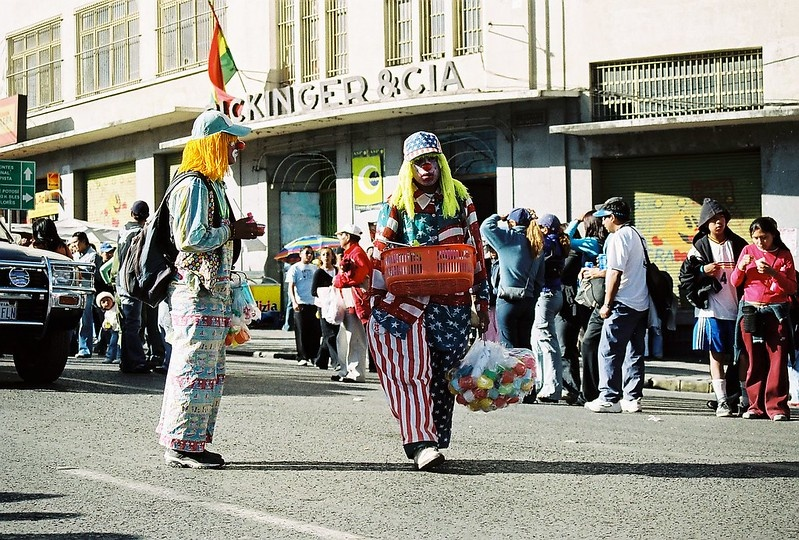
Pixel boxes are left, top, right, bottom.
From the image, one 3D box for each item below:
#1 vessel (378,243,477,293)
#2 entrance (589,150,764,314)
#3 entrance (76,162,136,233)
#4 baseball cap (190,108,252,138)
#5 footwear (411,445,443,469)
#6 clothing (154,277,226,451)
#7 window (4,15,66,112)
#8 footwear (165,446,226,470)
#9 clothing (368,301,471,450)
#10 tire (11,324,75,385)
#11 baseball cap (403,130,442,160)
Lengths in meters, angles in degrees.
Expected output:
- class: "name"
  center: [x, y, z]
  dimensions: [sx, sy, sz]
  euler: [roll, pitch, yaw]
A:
- class: "vessel"
  center: [0.318, -0.007, 11.890]
  dimensions: [0.680, 0.245, 0.529]
  euler: [-3, -38, 0]
- class: "entrance"
  center: [4.661, -0.670, 19.133]
  dimensions: [3.334, 2.873, 0.340]
  euler: [0, 1, 30]
- class: "entrance"
  center: [-8.312, -2.109, 33.308]
  dimensions: [0.250, 1.909, 2.569]
  euler: [-1, 1, -45]
- class: "baseball cap"
  center: [-1.889, -1.574, 12.200]
  dimensions: [0.504, 0.224, 0.325]
  euler: [-3, 16, -16]
- class: "footwear"
  center: [0.283, 1.905, 11.868]
  dimensions: [0.148, 0.157, 0.336]
  euler: [-7, -15, -33]
- class: "clothing"
  center: [-2.116, 0.987, 11.992]
  dimensions: [0.720, 1.739, 0.281]
  euler: [-1, -1, -11]
- class: "window"
  center: [-11.739, -6.737, 37.886]
  dimensions: [0.393, 3.208, 3.402]
  euler: [-1, -1, -44]
- class: "footwear"
  center: [-2.078, 1.918, 11.938]
  dimensions: [0.588, 0.291, 0.224]
  euler: [1, 0, -5]
- class: "clothing"
  center: [0.219, 1.090, 12.074]
  dimensions: [1.054, 1.631, 0.386]
  euler: [-1, -1, -2]
- class: "tire"
  center: [-4.944, 1.148, 16.114]
  dimensions: [0.874, 0.884, 0.317]
  euler: [-1, -1, 45]
- class: "baseball cap"
  center: [0.242, -1.299, 12.235]
  dimensions: [0.373, 0.333, 0.438]
  euler: [-1, -1, -2]
